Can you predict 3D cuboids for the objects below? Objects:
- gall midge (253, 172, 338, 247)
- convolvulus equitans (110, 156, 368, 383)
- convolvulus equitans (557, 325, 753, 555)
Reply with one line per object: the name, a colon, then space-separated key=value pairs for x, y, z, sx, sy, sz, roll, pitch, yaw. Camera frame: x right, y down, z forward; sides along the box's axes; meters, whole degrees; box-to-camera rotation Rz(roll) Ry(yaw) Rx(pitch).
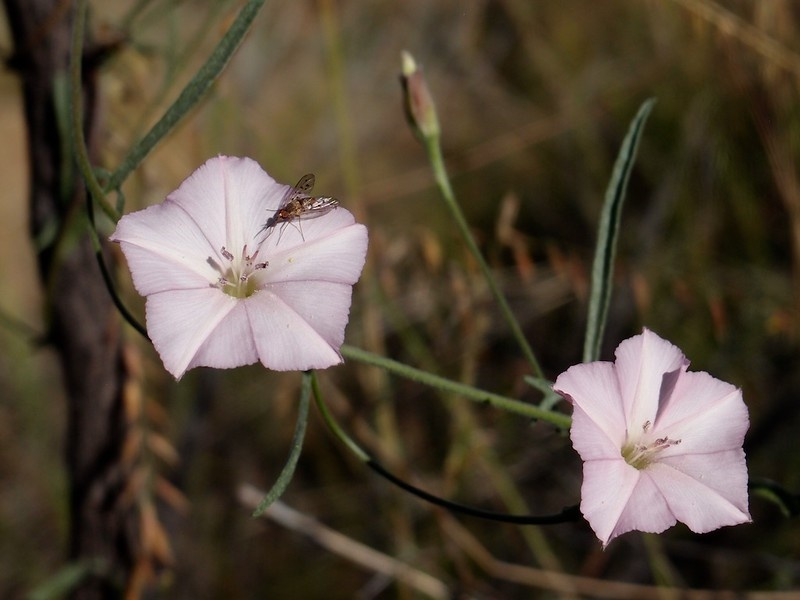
gall midge: x=-0.340 y=-0.319 z=2.793 sx=0.203 sy=0.285 sz=0.245 roll=-1 pitch=9 yaw=-4
convolvulus equitans: x=-0.451 y=-0.098 z=2.593 sx=0.728 sy=0.745 sz=0.238 roll=-15 pitch=-7 yaw=-2
convolvulus equitans: x=0.745 y=0.426 z=2.704 sx=0.473 sy=0.758 sz=0.718 roll=2 pitch=6 yaw=1
